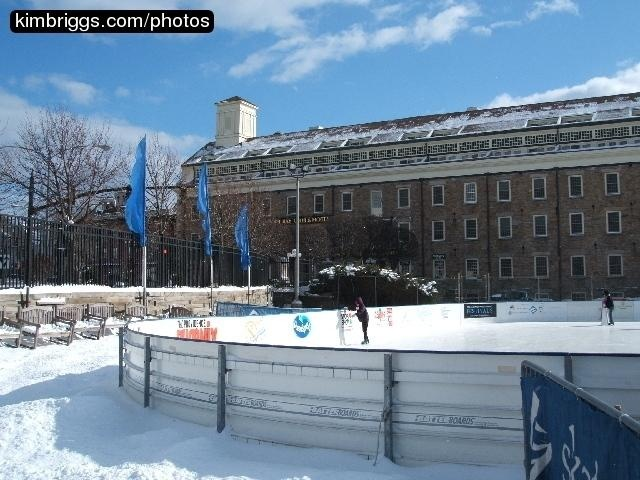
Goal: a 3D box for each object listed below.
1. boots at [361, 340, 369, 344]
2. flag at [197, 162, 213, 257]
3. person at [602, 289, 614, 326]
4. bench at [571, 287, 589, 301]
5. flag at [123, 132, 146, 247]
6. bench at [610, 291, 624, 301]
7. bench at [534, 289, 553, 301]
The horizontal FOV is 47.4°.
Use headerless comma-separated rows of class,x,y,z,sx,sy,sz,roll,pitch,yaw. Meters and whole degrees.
boots,1.739,3.864,27.660,0.194,0.071,0.164,-3,2,-24
flag,-5.312,-1.307,33.674,0.707,4.347,4.172,3,3,-9
person,14.405,3.346,36.344,0.576,1.429,2.335,5,2,23
bench,17.954,3.766,50.347,1.080,0.700,3.477,5,2,18
flag,-7.067,-1.878,28.114,0.760,4.170,2.575,3,3,-14
bench,19.108,3.579,46.768,0.796,0.855,0.451,1,2,-2
bench,15.751,3.876,51.394,0.633,0.694,0.361,1,3,0
